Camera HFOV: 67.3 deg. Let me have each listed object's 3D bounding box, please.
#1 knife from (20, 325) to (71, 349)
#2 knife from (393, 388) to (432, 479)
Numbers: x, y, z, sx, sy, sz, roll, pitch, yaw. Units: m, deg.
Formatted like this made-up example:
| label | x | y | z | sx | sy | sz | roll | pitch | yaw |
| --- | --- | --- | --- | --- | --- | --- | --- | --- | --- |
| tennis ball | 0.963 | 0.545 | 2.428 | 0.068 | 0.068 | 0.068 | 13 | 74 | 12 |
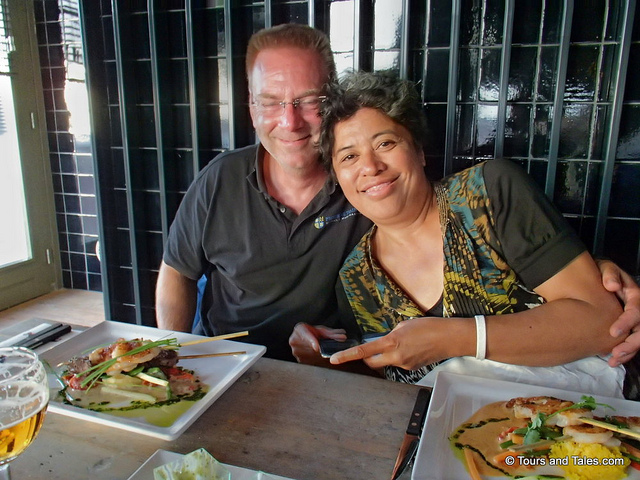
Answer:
| label | x | y | z | sx | sy | sz | roll | pitch | yaw |
| --- | --- | --- | --- | --- | --- | --- | --- | --- | --- |
| knife | -0.877 | 0.311 | 1.538 | 0.026 | 0.019 | 0.152 | 17 | 22 | 24 |
| knife | 0.221 | 0.435 | 1.112 | 0.044 | 0.015 | 0.305 | -3 | 16 | 26 |
